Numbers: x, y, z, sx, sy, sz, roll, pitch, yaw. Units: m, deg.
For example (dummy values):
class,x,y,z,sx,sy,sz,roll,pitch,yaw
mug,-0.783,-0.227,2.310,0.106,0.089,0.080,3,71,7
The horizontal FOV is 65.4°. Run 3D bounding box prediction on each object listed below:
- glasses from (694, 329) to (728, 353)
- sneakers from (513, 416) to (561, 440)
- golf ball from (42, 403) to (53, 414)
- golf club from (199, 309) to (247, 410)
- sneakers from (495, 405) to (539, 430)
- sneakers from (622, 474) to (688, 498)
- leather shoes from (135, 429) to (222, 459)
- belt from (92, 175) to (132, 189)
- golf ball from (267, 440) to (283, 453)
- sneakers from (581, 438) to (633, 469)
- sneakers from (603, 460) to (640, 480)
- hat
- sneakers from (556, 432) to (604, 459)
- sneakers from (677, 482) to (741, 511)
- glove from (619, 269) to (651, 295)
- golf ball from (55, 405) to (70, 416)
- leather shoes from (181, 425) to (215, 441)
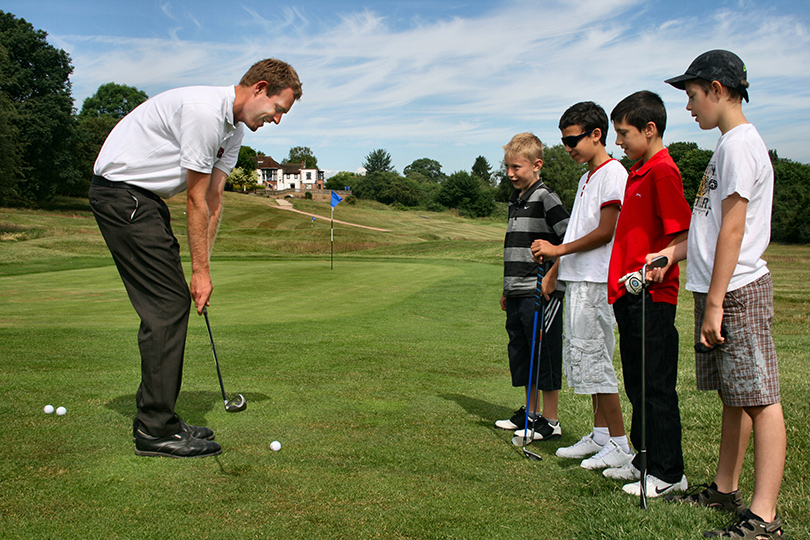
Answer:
class,x,y,z,sx,sy,sz,roll,pitch,yaw
glasses,2.162,0.513,4.518,0.177,0.072,0.202,-17,-7,11
sneakers,1.246,1.442,5.737,0.568,0.198,0.196,6,-14,-27
golf ball,-3.142,1.222,5.541,0.084,0.052,0.071,10,-14,2
golf club,-1.596,0.767,5.652,0.337,1.016,0.247,-5,-7,-29
sneakers,0.939,1.369,5.864,0.577,0.196,0.199,2,-7,-7
sneakers,1.907,1.645,4.882,0.563,0.176,0.170,1,-8,-6
leather shoes,-1.822,1.373,5.071,0.715,0.222,0.243,1,-8,-7
belt,-2.416,-0.691,5.152,0.186,0.036,0.169,4,1,14
golf ball,-1.058,1.422,5.092,0.081,0.054,0.082,7,-33,4
sneakers,1.690,1.549,5.339,0.560,0.194,0.170,1,-6,-15
sneakers,1.741,1.618,5.094,0.351,0.109,0.106,2,-6,0
hat,2.198,-1.396,4.598,0.602,0.245,0.395,13,4,27
sneakers,1.514,1.522,5.454,0.498,0.168,0.164,2,-7,-17
sneakers,2.242,1.662,4.694,0.497,0.169,0.160,0,-9,29
glove,1.680,0.089,4.643,0.206,0.176,0.089,-2,-28,35
golf ball,-3.014,1.225,5.516,0.078,0.061,0.085,10,19,-3
leather shoes,-1.706,1.337,5.194,0.249,0.078,0.106,3,2,-4
